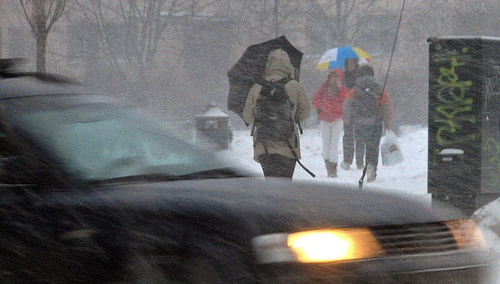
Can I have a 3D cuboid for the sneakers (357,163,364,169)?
[{"bbox_3d":[3.181,0.721,26.916,0.167,0.082,0.139,0,-2,12],"label":"sneakers"}]
